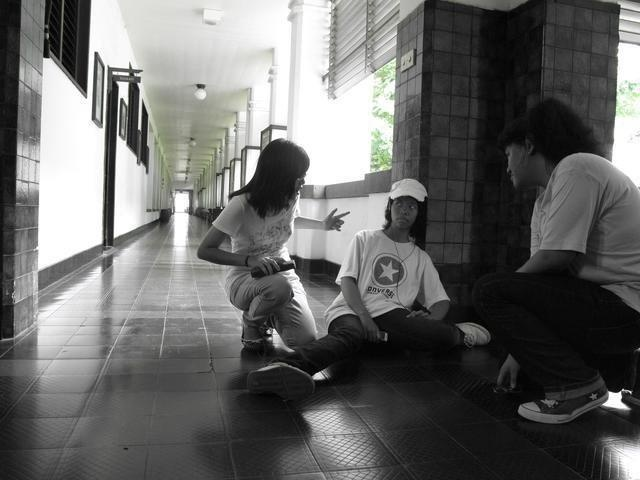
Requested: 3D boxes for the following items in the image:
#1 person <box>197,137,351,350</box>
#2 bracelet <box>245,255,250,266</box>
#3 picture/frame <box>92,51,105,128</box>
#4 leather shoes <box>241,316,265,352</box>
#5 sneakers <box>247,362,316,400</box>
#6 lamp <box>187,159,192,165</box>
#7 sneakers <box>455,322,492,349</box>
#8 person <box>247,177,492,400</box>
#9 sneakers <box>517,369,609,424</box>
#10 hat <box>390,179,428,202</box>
[{"bbox_3d":[-0.292,0.032,2.594,0.752,1.126,0.470,1,4,-21],"label":"person"},{"bbox_3d":[-0.369,0.107,2.400,0.022,0.049,0.055,2,4,-9],"label":"bracelet"},{"bbox_3d":[-2.828,-1.898,6.054,0.067,0.883,0.888,1,4,-19],"label":"picture/frame"},{"bbox_3d":[-0.317,0.519,2.596,0.225,0.163,0.077,-5,-16,30],"label":"leather shoes"},{"bbox_3d":[-0.161,0.575,1.978,0.248,0.130,0.108,7,2,8],"label":"sneakers"},{"bbox_3d":[-8.676,-5.272,31.399,0.270,0.281,0.508,2,-1,-19],"label":"lamp"},{"bbox_3d":[0.854,0.559,2.797,0.280,0.109,0.113,1,12,-18],"label":"sneakers"},{"bbox_3d":[0.346,0.167,2.467,0.727,0.974,1.661,7,2,33],"label":"person"},{"bbox_3d":[0.932,0.628,1.866,0.368,0.148,0.149,-17,0,1],"label":"sneakers"},{"bbox_3d":[0.516,-0.287,2.722,0.176,0.089,0.260,6,-3,9],"label":"hat"}]
